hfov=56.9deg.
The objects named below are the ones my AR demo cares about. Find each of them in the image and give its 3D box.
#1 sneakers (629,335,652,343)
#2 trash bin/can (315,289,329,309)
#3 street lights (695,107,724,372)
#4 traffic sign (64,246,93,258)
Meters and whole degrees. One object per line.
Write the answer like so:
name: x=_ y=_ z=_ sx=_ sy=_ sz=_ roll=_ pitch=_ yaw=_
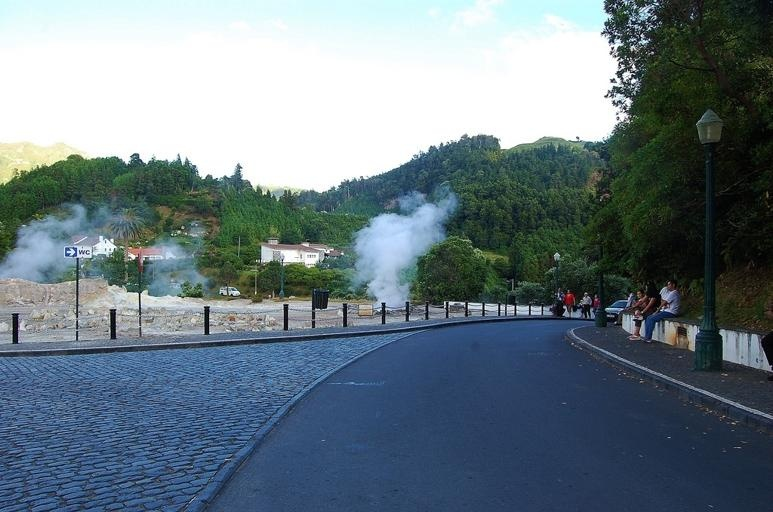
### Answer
sneakers: x=8.640 y=2.782 z=24.229 sx=0.647 sy=0.269 sz=0.222 roll=9 pitch=-4 yaw=-5
trash bin/can: x=-3.233 y=2.077 z=34.890 sx=0.514 sy=0.869 sz=1.253 roll=0 pitch=4 yaw=7
street lights: x=7.929 y=-0.415 z=17.460 sx=0.656 sy=6.346 sz=0.876 roll=1 pitch=6 yaw=22
traffic sign: x=-10.801 y=-0.188 z=24.982 sx=0.683 sy=0.419 sz=1.438 roll=-1 pitch=4 yaw=-1
